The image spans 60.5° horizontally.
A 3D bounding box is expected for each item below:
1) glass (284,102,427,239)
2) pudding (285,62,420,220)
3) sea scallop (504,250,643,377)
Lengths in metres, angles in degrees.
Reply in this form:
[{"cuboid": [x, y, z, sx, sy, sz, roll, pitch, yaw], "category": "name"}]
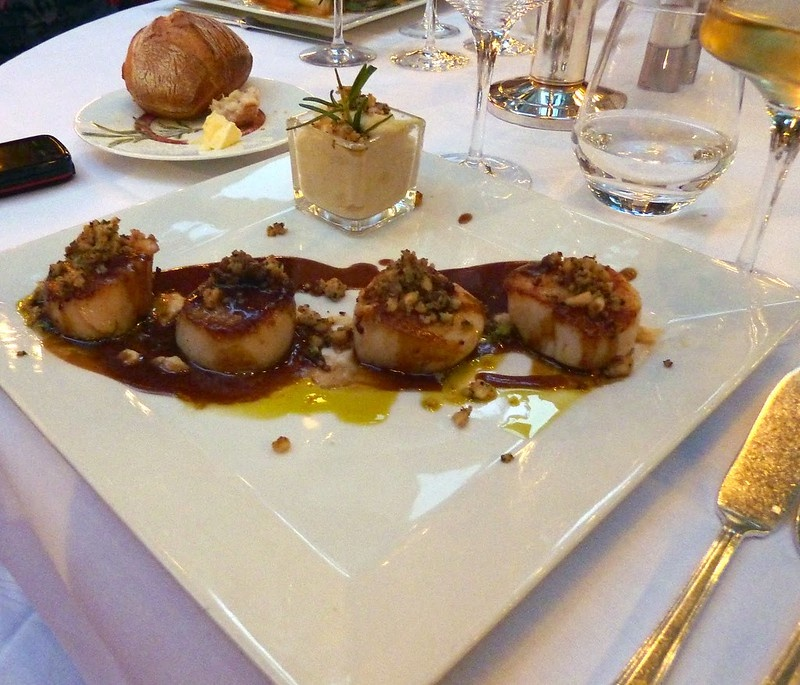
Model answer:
[{"cuboid": [-0.111, -0.454, 1.772, 0.285, 0.189, 0.265, -22, 43, -29], "category": "glass"}, {"cuboid": [-0.111, -0.486, 1.749, 0.337, 0.292, 0.292, -13, 42, -15], "category": "pudding"}, {"cuboid": [0.363, -0.042, 1.428, 0.237, 0.116, 0.303, -29, 42, -23], "category": "sea scallop"}]
